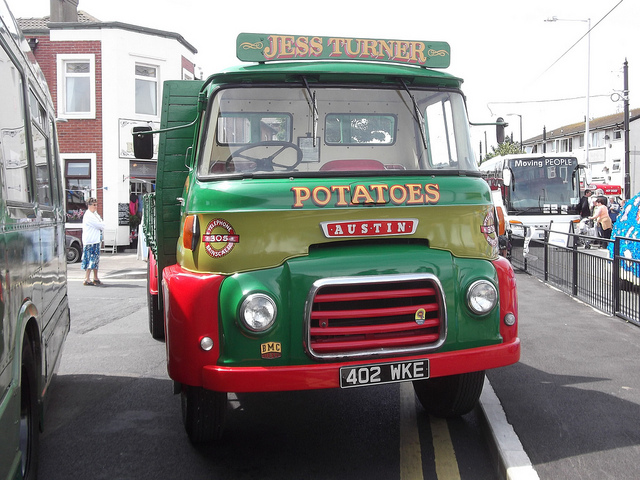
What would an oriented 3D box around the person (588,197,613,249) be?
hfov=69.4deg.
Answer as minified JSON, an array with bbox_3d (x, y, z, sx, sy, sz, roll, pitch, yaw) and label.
[{"bbox_3d":[11.329,-0.781,18.043,0.715,2.074,0.744,5,31,43],"label":"person"}]

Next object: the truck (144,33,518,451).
[{"bbox_3d":[-0.156,0.015,6.286,2.902,3.603,6.052,-2,-1,-10],"label":"truck"}]
